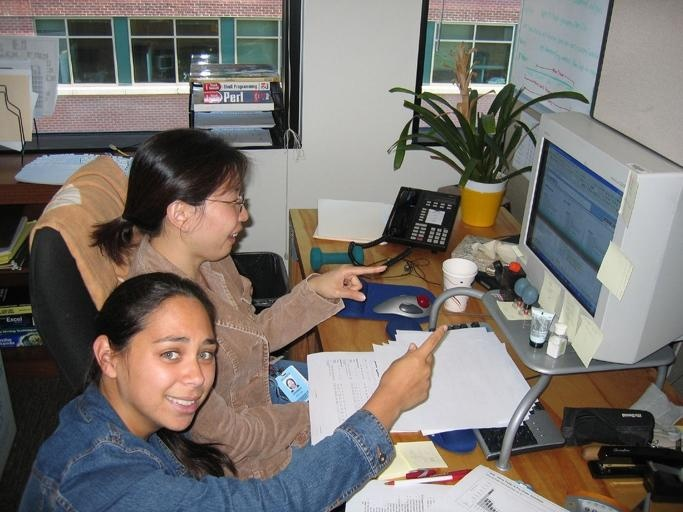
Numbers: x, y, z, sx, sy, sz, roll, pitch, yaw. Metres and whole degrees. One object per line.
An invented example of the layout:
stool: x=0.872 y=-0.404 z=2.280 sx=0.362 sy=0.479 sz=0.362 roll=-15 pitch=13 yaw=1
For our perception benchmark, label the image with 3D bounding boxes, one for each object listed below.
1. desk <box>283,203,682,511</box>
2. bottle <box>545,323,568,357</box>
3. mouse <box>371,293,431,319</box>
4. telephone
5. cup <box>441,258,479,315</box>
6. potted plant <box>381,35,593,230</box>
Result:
desk: x=0.224 y=0.417 z=2.109 sx=0.786 sy=0.563 sz=1.171 roll=-2 pitch=39 yaw=-4
bottle: x=0.529 y=0.207 z=1.213 sx=0.039 sy=0.072 sz=0.044 roll=14 pitch=37 yaw=18
mouse: x=0.210 y=0.167 z=1.668 sx=0.138 sy=0.045 sz=0.089 roll=-2 pitch=22 yaw=8
telephone: x=0.352 y=-0.151 z=2.067 sx=0.292 sy=0.283 sz=0.125 roll=10 pitch=-16 yaw=18
cup: x=0.402 y=0.106 z=1.677 sx=0.118 sy=0.131 sz=0.119 roll=-3 pitch=31 yaw=2
potted plant: x=0.543 y=-0.506 z=2.412 sx=0.915 sy=0.800 sz=0.909 roll=1 pitch=18 yaw=0
